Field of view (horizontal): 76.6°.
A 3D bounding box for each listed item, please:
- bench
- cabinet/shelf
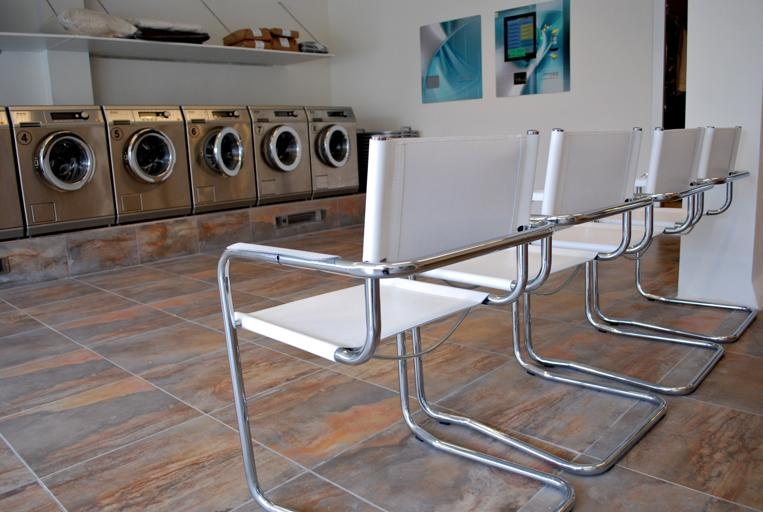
[{"bbox_3d":[0.436,0.144,1.763,1.832,1.213,0.824,-17,23,-35],"label":"bench"},{"bbox_3d":[-2.406,-2.218,5.594,3.193,0.449,0.925,-17,23,-37],"label":"cabinet/shelf"}]
